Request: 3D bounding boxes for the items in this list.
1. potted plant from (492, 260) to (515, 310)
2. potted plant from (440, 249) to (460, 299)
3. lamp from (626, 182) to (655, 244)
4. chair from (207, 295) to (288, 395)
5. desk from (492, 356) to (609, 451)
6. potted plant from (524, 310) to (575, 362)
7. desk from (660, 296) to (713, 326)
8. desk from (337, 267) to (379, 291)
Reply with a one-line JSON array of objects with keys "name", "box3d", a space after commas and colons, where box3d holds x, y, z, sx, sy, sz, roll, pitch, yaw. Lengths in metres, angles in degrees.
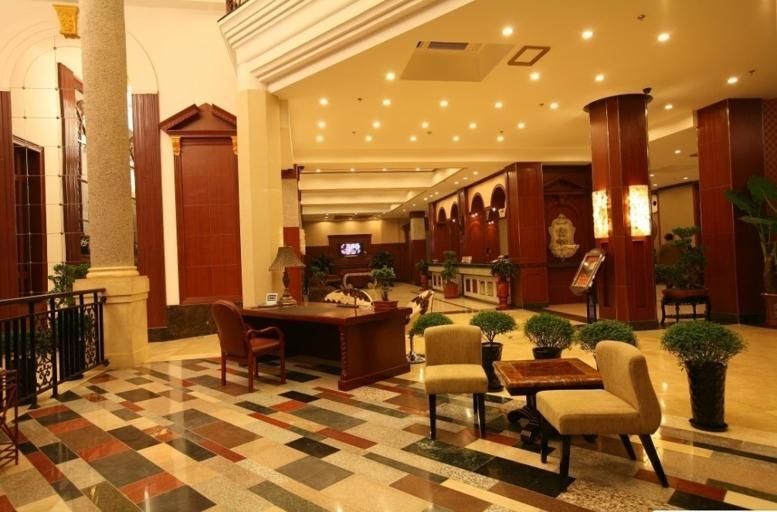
[{"name": "potted plant", "box3d": [3.266, 0.771, 14.731, 0.611, 1.345, 1.121, 2, 15, 14]}, {"name": "potted plant", "box3d": [2.176, 0.692, 17.973, 0.635, 1.616, 1.131, 0, 14, 7]}, {"name": "lamp", "box3d": [5.225, -0.926, 10.816, 0.510, 1.089, 0.297, -4, 14, -8]}, {"name": "chair", "box3d": [-2.112, 1.348, 8.000, 0.981, 1.251, 0.983, -2, -1, 16]}, {"name": "desk", "box3d": [1.863, 1.676, 6.170, 0.983, 0.660, 1.060, -1, 2, -13]}, {"name": "potted plant", "box3d": [2.230, 1.097, 7.389, 0.677, 0.631, 0.645, 1, 3, 5]}, {"name": "desk", "box3d": [6.099, 1.114, 10.603, 0.789, 0.432, 0.664, 0, 4, 9]}, {"name": "desk", "box3d": [-1.077, 0.836, 18.499, 1.494, 0.677, 1.120, 0, -2, -2]}]
